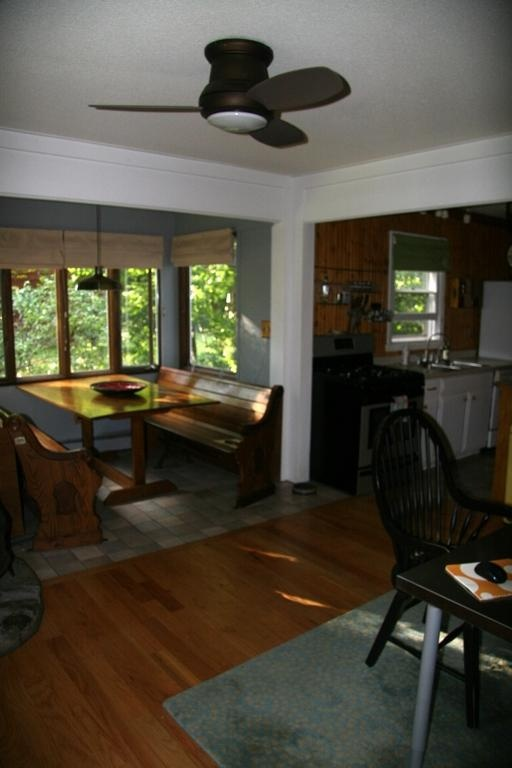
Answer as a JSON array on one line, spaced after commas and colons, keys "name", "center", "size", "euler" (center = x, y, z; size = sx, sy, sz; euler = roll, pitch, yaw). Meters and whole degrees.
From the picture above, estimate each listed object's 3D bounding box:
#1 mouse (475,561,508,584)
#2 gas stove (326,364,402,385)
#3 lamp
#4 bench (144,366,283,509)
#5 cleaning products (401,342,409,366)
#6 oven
[{"name": "mouse", "center": [0.615, 0.490, 1.488], "size": [0.073, 0.026, 0.092], "euler": [-4, 8, -33]}, {"name": "gas stove", "center": [0.873, -0.094, 4.635], "size": [0.539, 0.042, 0.941], "euler": [7, 9, 43]}, {"name": "lamp", "center": [-1.382, -1.209, 4.955], "size": [0.324, 0.814, 1.039], "euler": [-1, 7, -15]}, {"name": "bench", "center": [-0.556, 0.349, 4.796], "size": [0.505, 0.826, 1.547], "euler": [-13, 18, -42]}, {"name": "cleaning products", "center": [1.431, -0.288, 5.449], "size": [0.069, 0.209, 0.271], "euler": [2, 7, 14]}, {"name": "oven", "center": [0.949, 0.378, 4.410], "size": [0.610, 0.764, 0.550], "euler": [-4, 16, -9]}]
